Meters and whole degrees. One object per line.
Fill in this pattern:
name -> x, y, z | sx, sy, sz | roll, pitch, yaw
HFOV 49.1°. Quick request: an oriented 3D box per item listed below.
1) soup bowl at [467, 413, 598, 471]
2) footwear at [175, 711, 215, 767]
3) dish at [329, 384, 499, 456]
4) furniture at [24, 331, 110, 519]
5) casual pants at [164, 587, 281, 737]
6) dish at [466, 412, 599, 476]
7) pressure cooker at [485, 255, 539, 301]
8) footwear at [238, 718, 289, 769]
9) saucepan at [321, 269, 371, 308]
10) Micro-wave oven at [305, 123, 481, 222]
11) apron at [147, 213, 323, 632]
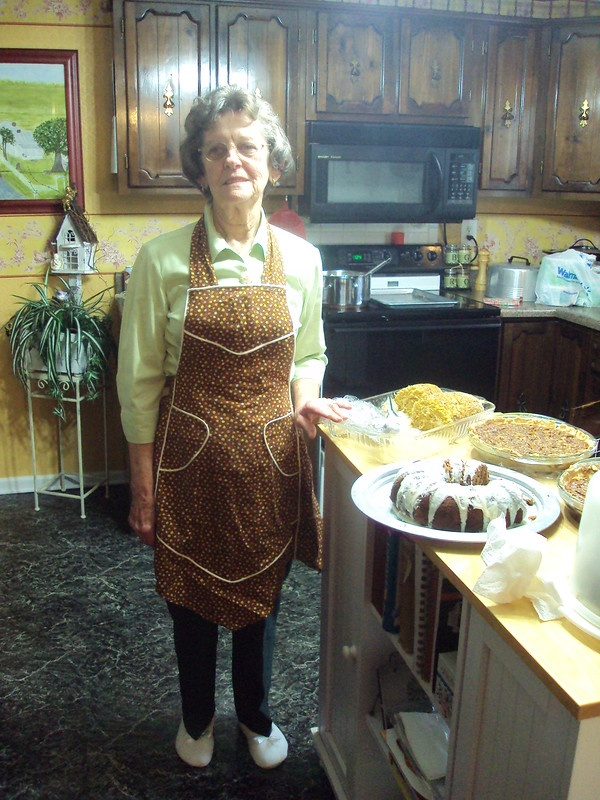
soup bowl -> 0.424, 0.075, 1.196 | 0.140, 0.034, 0.134 | 2, 23, -1
footwear -> -0.263, 0.873, 1.688 | 0.078, 0.061, 0.120 | 2, 33, -2
dish -> 0.246, 0.007, 1.244 | 0.237, 0.043, 0.156 | -14, 20, -41
furniture -> -1.201, 0.146, 3.139 | 0.289, 0.690, 0.251 | 0, 2, -28
casual pants -> -0.187, 0.630, 1.576 | 0.301, 0.537, 0.136 | -4, 29, -14
dish -> 0.415, 0.077, 1.190 | 0.144, 0.040, 0.138 | -9, 27, -24
pressure cooker -> 1.157, -0.648, 3.559 | 0.273, 0.188, 0.265 | 7, 22, 12
footwear -> -0.079, 0.859, 1.659 | 0.072, 0.042, 0.122 | -8, 14, -29
saucepan -> 0.233, -0.523, 3.179 | 0.160, 0.162, 0.262 | 0, 12, -3
Micro-wave oven -> 0.434, -1.109, 3.381 | 0.905, 0.409, 0.450 | -4, 17, -14
apron -> -0.132, 0.058, 1.374 | 0.258, 0.831, 0.320 | 10, 16, 29
